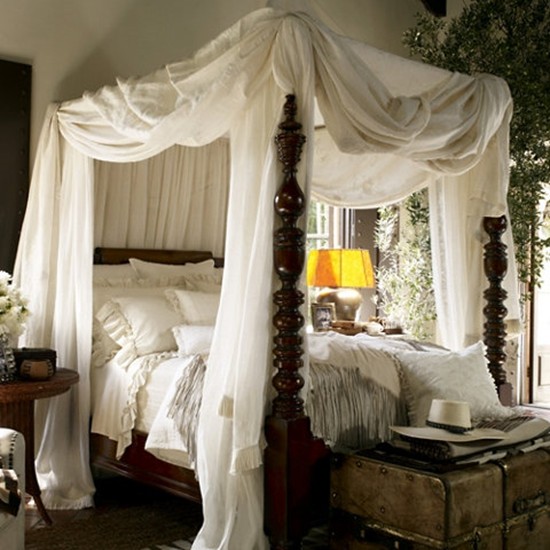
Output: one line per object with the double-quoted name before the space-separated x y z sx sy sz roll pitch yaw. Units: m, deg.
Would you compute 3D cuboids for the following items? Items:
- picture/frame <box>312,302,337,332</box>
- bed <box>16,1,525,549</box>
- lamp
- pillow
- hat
"picture/frame" 0.409 0.361 4.815 0.201 0.296 0.220 0 -1 -18
"bed" 0.064 -0.184 3.669 2.559 2.834 2.524 -1 2 -42
"lamp" 0.602 0.077 5.091 0.567 0.670 0.588 -1 1 9
"pillow" -0.757 0.191 3.683 0.764 0.673 0.318 1 -15 -44
"hat" 0.736 0.612 2.371 0.487 0.166 0.237 3 -5 -25
